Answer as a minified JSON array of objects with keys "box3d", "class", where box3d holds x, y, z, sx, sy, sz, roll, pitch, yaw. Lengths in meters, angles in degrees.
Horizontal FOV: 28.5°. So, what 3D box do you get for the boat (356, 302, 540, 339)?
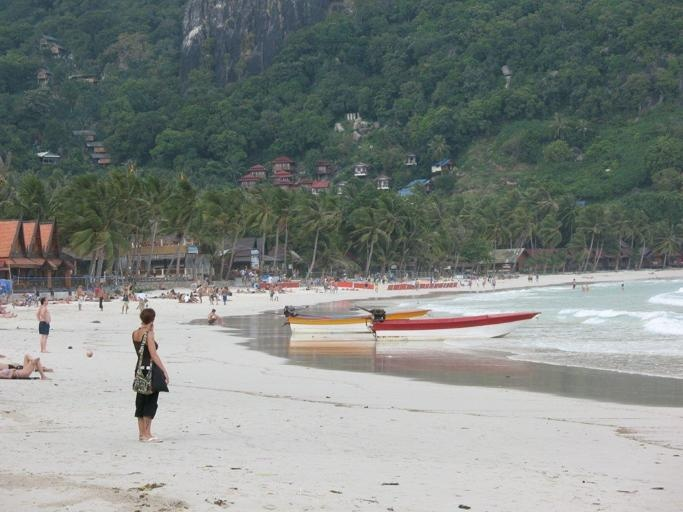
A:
[{"box3d":[20.199,9.381,243.184,36.819,7.797,9.862,-1,4,0],"class":"boat"}]
